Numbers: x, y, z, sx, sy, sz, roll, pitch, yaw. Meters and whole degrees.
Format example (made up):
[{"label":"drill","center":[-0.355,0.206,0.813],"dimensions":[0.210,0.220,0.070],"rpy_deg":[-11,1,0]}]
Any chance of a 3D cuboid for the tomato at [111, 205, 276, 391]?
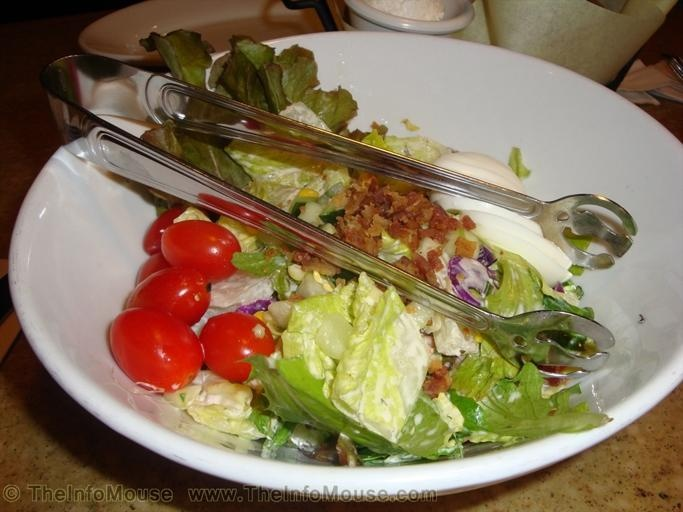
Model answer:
[{"label":"tomato","center":[-0.346,0.081,1.210],"dimensions":[0.304,0.192,0.446],"rpy_deg":[-20,67,-9]}]
